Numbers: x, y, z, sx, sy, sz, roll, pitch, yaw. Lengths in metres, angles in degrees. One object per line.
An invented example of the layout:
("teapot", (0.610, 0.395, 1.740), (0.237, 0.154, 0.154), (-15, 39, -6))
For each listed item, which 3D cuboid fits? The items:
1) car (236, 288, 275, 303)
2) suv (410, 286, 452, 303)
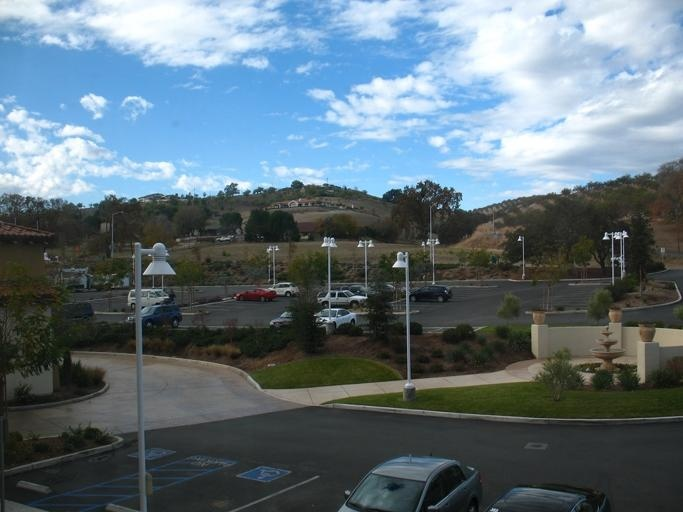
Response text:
("car", (-7.560, 3.506, 66.604), (3.138, 0.974, 1.451), (3, 2, 20))
("suv", (7.431, 3.132, 61.376), (2.929, 1.070, 1.505), (3, 4, 20))
